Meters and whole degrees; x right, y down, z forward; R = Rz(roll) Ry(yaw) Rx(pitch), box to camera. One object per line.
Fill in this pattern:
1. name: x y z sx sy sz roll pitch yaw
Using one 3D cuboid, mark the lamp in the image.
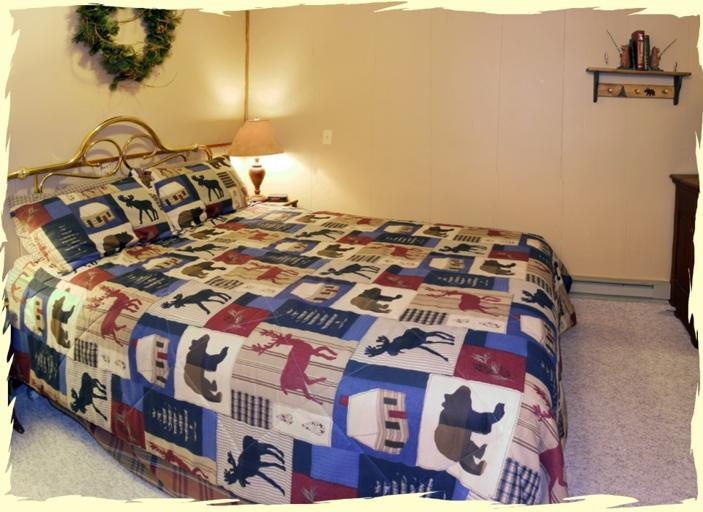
1. lamp: -0.825 -0.847 4.245 0.495 0.660 0.483 -7 15 -29
